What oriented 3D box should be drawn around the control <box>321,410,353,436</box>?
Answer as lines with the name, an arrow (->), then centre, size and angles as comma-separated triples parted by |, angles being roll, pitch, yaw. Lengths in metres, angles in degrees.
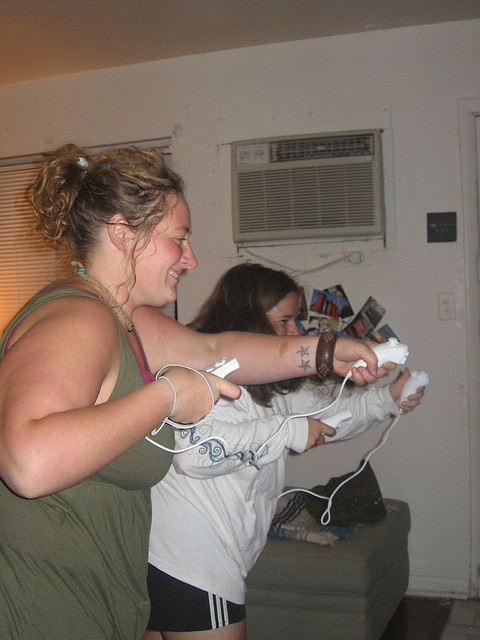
control -> 0.239, 0.244, 1.476 | 0.047, 0.026, 0.113 | 17, -34, -29

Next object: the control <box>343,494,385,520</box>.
control -> 0.454, 0.685, 2.249 | 0.133, 0.069, 0.088 | -8, -5, -5

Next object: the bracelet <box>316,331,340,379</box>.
bracelet -> 0.186, 0.080, 1.311 | 0.033, 0.077, 0.085 | 4, 26, 13

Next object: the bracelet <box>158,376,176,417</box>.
bracelet -> -0.100, 0.106, 0.832 | 0.015, 0.056, 0.031 | -8, 7, -33

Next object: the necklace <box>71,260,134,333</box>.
necklace -> -0.213, -0.051, 1.047 | 0.032, 0.123, 0.098 | -44, 1, -21

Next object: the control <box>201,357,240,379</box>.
control -> -0.038, 0.081, 1.055 | 0.043, 0.012, 0.046 | -27, 13, -38

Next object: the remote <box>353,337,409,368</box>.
remote -> 0.308, 0.074, 1.300 | 0.093, 0.061, 0.039 | -5, 8, 6

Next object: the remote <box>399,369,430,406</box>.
remote -> 0.437, 0.169, 1.510 | 0.027, 0.077, 0.074 | 41, 21, 18
